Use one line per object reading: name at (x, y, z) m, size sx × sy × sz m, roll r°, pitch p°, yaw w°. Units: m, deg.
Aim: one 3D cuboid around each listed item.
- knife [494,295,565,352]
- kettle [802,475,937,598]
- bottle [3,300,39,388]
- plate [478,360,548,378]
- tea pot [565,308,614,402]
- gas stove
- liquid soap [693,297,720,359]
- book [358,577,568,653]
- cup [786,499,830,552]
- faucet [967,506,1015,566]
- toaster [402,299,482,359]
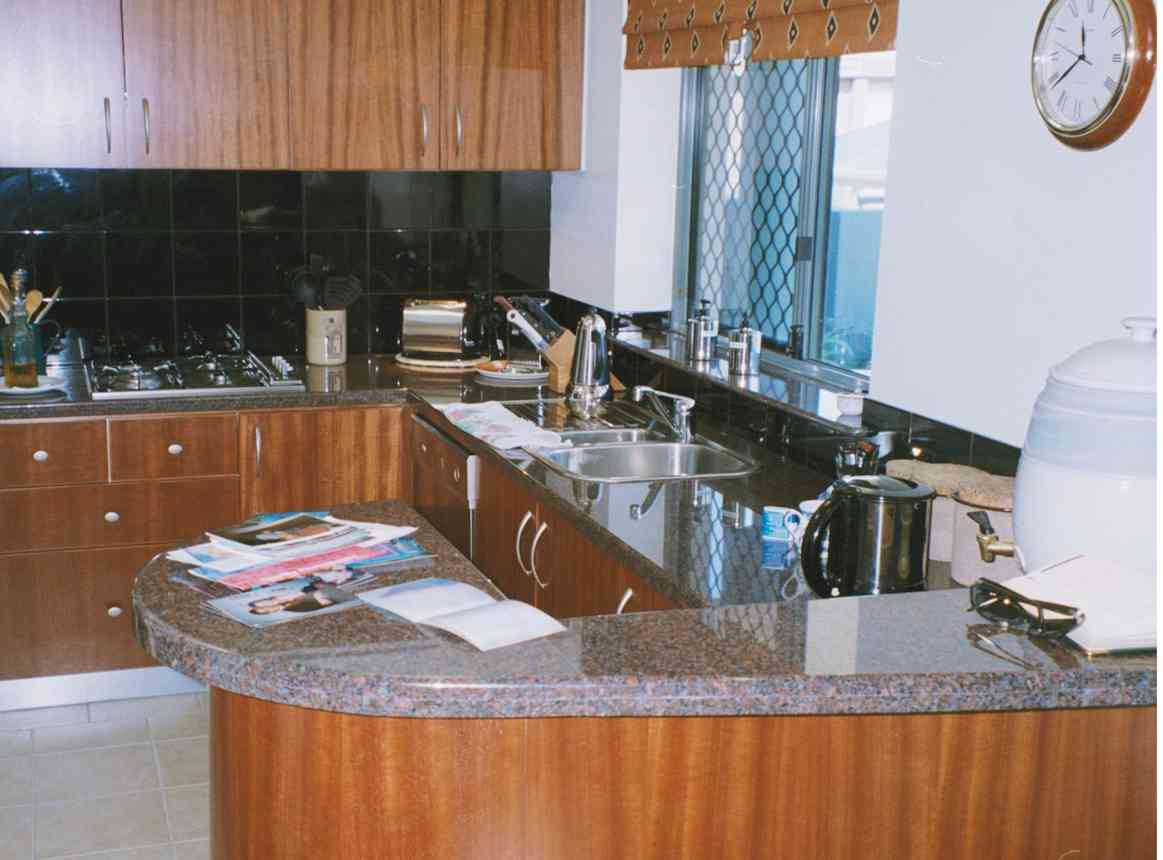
knife at (-0.195, -0.428, 4.221) m, size 0.303 × 0.098 × 0.195 m, roll 38°, pitch 17°, yaw -10°
kettle at (0.562, 0.219, 2.173) m, size 0.275 × 0.229 × 0.177 m, roll -4°, pitch 16°, yaw -10°
bottle at (-1.964, -0.304, 3.709) m, size 0.112 × 0.307 × 0.128 m, roll -10°, pitch 17°, yaw -27°
plate at (-0.299, -0.253, 4.415) m, size 0.293 × 0.032 × 0.282 m, roll -4°, pitch 15°, yaw -9°
tea pot at (0.037, -0.261, 3.803) m, size 0.154 × 0.330 × 0.152 m, roll -2°, pitch 15°, yaw 0°
gas stove at (-1.477, -0.216, 4.106) m, size 0.751 × 0.093 × 0.665 m, roll -8°, pitch 16°, yaw -22°
liquid soap at (0.443, -0.360, 3.857) m, size 0.084 × 0.197 × 0.084 m, roll -6°, pitch 16°, yaw -19°
book at (-0.211, 0.304, 1.813) m, size 0.167 × 0.035 × 0.404 m, roll -14°, pitch 19°, yaw -40°
cup at (0.492, 0.210, 2.453) m, size 0.129 × 0.108 × 0.105 m, roll -2°, pitch 12°, yaw -8°
faucet at (0.706, 0.186, 1.810) m, size 0.038 × 0.058 × 0.084 m, roll -24°, pitch 12°, yaw -31°
toaster at (-0.612, -0.437, 4.531) m, size 0.284 × 0.242 × 0.215 m, roll 5°, pitch 21°, yaw 7°
